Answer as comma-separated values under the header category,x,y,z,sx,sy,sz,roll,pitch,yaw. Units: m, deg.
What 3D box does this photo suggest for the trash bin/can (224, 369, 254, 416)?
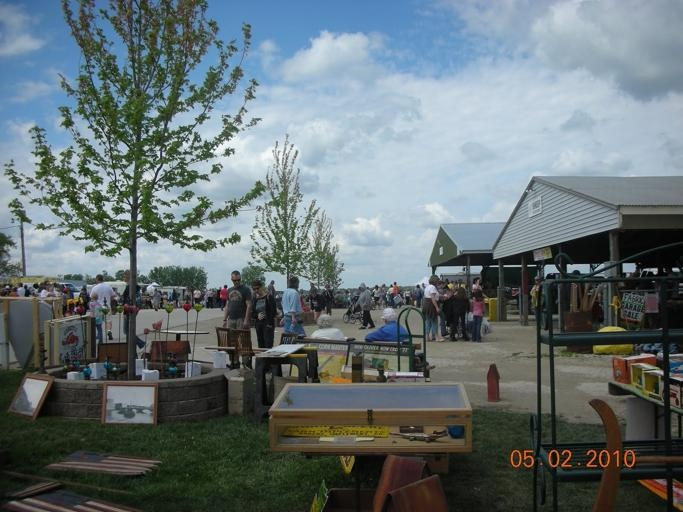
category,x,y,z,sx,sy,sz,roll,pitch,yaw
trash bin/can,-1.714,2.127,9.536,0.539,0.800,0.663,-1,-1,9

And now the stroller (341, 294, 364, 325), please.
category,x,y,z,sx,sy,sz,roll,pitch,yaw
stroller,0.481,2.325,25.368,0.636,0.801,1.320,1,-4,14

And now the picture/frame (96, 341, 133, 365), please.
category,x,y,z,sx,sy,sz,roll,pitch,yaw
picture/frame,-4.325,1.821,11.248,0.511,0.338,0.528,1,3,1

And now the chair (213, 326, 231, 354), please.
category,x,y,z,sx,sy,sz,roll,pitch,yaw
chair,-2.289,1.657,11.906,0.378,0.593,0.413,1,-7,-15

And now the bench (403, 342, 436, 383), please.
category,x,y,z,sx,sy,sz,roll,pitch,yaw
bench,1.181,1.592,9.483,0.389,0.488,2.779,1,1,6

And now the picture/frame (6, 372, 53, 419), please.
category,x,y,z,sx,sy,sz,roll,pitch,yaw
picture/frame,-4.817,2.185,9.233,0.495,0.512,0.038,18,-16,38

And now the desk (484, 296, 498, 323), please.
category,x,y,z,sx,sy,sz,roll,pitch,yaw
desk,7.386,2.646,29.595,0.787,1.448,1.446,0,-1,6

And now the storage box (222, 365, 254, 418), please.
category,x,y,z,sx,sy,sz,roll,pitch,yaw
storage box,-1.664,2.109,9.387,0.535,0.826,0.654,-1,-2,14

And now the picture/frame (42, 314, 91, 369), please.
category,x,y,z,sx,sy,sz,roll,pitch,yaw
picture/frame,-5.794,1.809,12.503,0.305,0.972,1.006,-3,-1,18

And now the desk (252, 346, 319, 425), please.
category,x,y,z,sx,sy,sz,roll,pitch,yaw
desk,-0.936,2.007,9.270,0.978,0.923,0.796,-3,-8,-6

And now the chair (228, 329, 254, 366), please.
category,x,y,z,sx,sy,sz,roll,pitch,yaw
chair,-2.046,1.845,11.969,0.475,0.864,1.521,0,1,-10

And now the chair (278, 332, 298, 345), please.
category,x,y,z,sx,sy,sz,roll,pitch,yaw
chair,-0.996,1.581,11.105,0.350,0.365,0.201,-1,-41,1
